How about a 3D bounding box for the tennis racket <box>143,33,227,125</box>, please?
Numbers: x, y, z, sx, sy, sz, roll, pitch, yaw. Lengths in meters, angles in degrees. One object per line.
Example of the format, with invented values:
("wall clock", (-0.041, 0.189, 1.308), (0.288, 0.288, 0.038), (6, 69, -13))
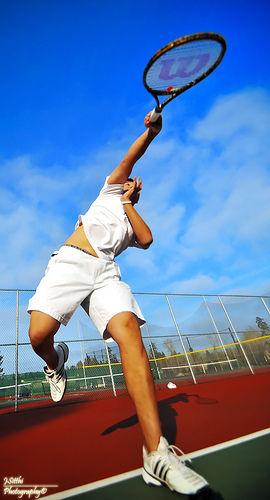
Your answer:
("tennis racket", (0.278, -1.234, 2.281), (0.603, 0.113, 1.071), (-13, -2, -17))
